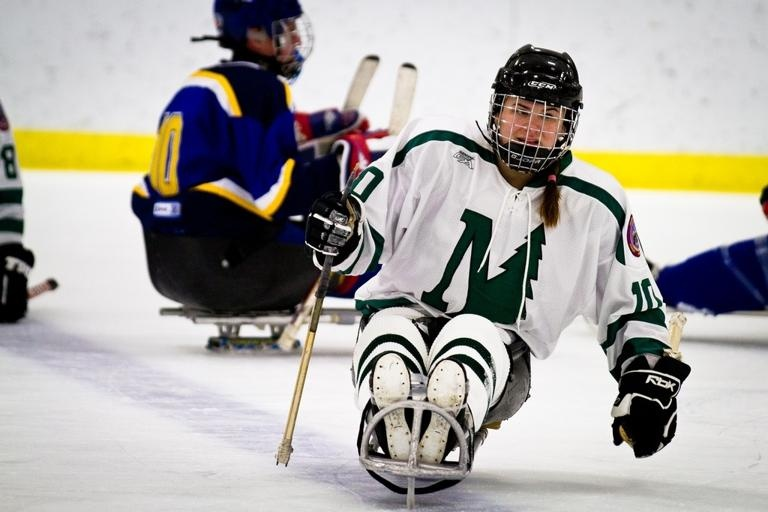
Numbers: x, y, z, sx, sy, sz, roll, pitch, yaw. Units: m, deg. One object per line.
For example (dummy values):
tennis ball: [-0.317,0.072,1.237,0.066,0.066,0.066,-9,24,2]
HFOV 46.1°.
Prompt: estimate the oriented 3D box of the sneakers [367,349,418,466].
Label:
sneakers: [0.023,0.477,2.828,0.127,0.309,0.144,2,12,-1]

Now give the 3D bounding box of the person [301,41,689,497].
person: [0.398,-0.032,3.388,1.082,1.021,1.631,19,23,-4]

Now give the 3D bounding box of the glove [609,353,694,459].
glove: [0.887,0.492,3.079,0.256,0.342,0.141,21,-6,-6]

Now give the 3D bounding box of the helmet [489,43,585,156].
helmet: [0.521,-0.550,3.203,0.277,0.347,0.357,18,-1,3]

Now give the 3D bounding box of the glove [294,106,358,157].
glove: [-0.348,-0.706,5.039,0.263,0.184,0.602,2,-7,-41]

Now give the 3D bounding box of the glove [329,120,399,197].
glove: [-0.096,-0.514,4.459,0.507,0.318,0.191,-17,7,-43]

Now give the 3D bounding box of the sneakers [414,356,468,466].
sneakers: [0.181,0.488,2.860,0.113,0.349,0.125,9,-3,4]
